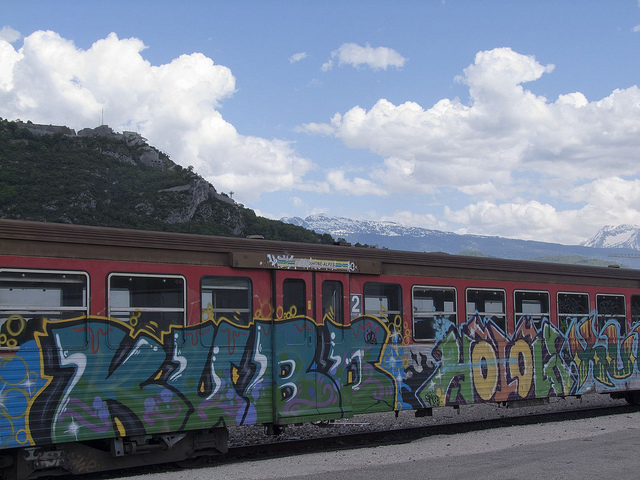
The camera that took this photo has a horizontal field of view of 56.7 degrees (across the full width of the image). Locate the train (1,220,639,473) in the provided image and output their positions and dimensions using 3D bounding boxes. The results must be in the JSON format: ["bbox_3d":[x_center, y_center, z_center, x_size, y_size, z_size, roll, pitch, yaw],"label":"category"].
[{"bbox_3d":[0.315,2.042,11.593,11.701,4.031,0.379,4,-7,-25],"label":"train"}]
